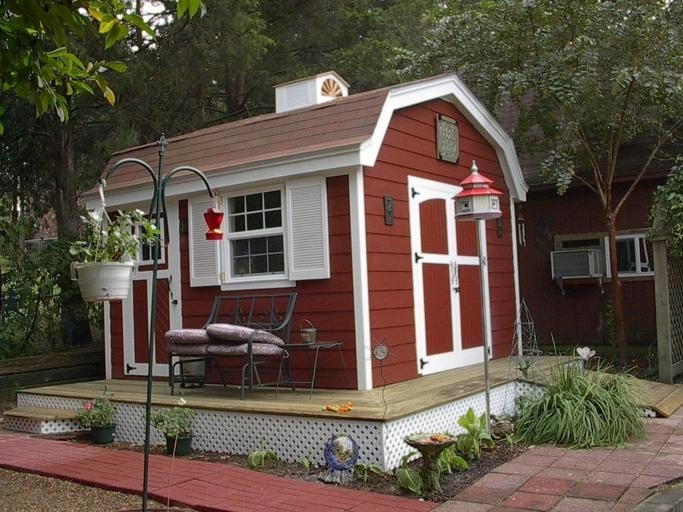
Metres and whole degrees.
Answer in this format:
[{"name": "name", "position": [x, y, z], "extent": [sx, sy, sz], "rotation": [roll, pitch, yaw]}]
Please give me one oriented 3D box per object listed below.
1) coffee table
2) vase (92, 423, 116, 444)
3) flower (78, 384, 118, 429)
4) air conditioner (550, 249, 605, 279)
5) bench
[{"name": "coffee table", "position": [-0.354, 1.288, 8.192], "extent": [0.593, 0.693, 0.779], "rotation": [-5, -7, 32]}, {"name": "vase", "position": [-2.991, 2.214, 8.377], "extent": [0.249, 0.198, 0.245], "rotation": [-7, -13, 27]}, {"name": "flower", "position": [-3.130, 1.923, 8.502], "extent": [0.394, 0.543, 0.515], "rotation": [-2, 5, -36]}, {"name": "air conditioner", "position": [4.015, 0.115, 11.287], "extent": [0.786, 0.520, 0.491], "rotation": [-2, 1, 34]}, {"name": "bench", "position": [-1.427, 1.099, 8.500], "extent": [1.543, 1.201, 1.026], "rotation": [-5, -6, 40]}]
